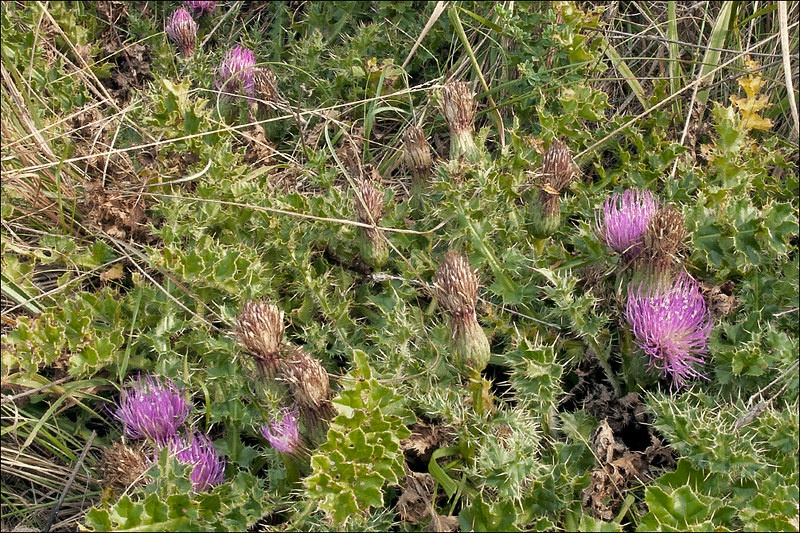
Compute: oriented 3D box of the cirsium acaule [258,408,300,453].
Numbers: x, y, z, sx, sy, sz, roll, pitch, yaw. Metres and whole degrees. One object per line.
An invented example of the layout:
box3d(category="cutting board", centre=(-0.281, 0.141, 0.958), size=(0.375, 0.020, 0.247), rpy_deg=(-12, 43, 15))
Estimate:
box3d(category="cirsium acaule", centre=(-0.598, 0.804, 3.827), size=(0.183, 0.197, 0.212), rpy_deg=(11, 88, -17))
